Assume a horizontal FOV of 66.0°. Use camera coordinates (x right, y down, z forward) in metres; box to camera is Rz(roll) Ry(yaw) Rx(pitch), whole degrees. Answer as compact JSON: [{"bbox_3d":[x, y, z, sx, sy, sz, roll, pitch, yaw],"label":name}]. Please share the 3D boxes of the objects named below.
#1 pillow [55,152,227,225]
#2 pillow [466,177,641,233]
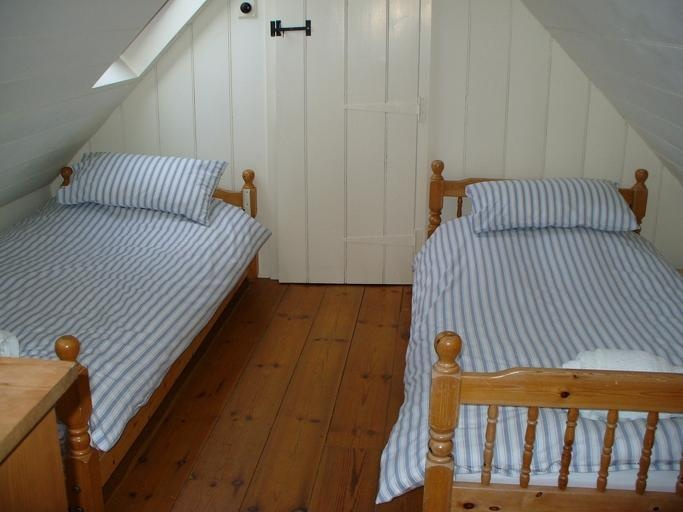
[{"bbox_3d":[-1.261,-0.477,3.354,0.751,0.187,0.563,10,57,3],"label":"pillow"},{"bbox_3d":[1.204,-0.298,3.049,0.662,0.171,0.466,0,38,4],"label":"pillow"}]
